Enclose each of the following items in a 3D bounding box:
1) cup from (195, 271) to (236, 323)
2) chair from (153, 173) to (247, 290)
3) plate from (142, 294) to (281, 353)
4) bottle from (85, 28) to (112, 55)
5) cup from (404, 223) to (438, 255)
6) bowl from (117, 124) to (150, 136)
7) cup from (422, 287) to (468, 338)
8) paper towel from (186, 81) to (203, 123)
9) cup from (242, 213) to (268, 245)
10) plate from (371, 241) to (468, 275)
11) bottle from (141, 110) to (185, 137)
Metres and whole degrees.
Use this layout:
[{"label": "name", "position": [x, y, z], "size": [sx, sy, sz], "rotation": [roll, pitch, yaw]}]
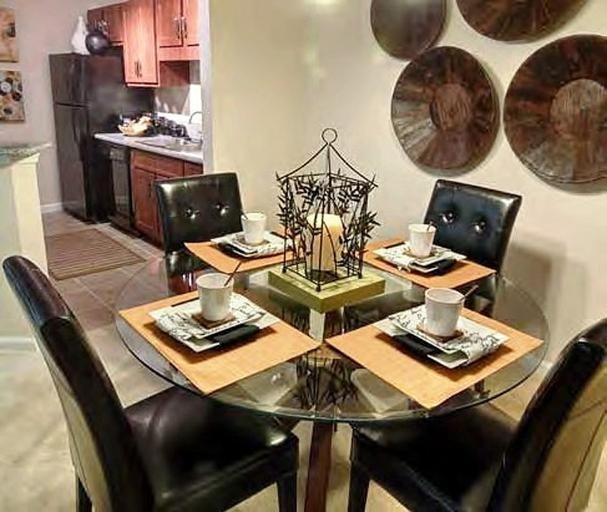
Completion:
[{"label": "cup", "position": [-0.231, 0.102, 1.265], "size": [0.109, 0.121, 0.112], "rotation": [3, 29, -1]}, {"label": "chair", "position": [-0.441, -0.116, 1.962], "size": [0.342, 0.658, 0.354], "rotation": [-15, 26, -34]}, {"label": "plate", "position": [-0.238, 0.178, 1.223], "size": [0.184, 0.030, 0.186], "rotation": [-13, 30, -37]}, {"label": "bottle", "position": [-2.184, -2.278, 4.887], "size": [0.233, 0.368, 0.250], "rotation": [-1, 31, 1]}, {"label": "cup", "position": [0.442, -0.062, 1.729], "size": [0.101, 0.130, 0.113], "rotation": [-2, 24, -4]}, {"label": "bowl", "position": [-1.821, -1.350, 4.896], "size": [0.284, 0.129, 0.219], "rotation": [-6, 22, -23]}, {"label": "cup", "position": [0.362, 0.129, 1.229], "size": [0.113, 0.125, 0.107], "rotation": [0, 30, 0]}, {"label": "paper towel", "position": [-1.143, -1.598, 4.771], "size": [0.084, 0.379, 0.311], "rotation": [-10, 23, -32]}, {"label": "cup", "position": [-0.182, -0.112, 1.773], "size": [0.102, 0.124, 0.106], "rotation": [1, 24, 0]}, {"label": "plate", "position": [0.405, 0.012, 1.697], "size": [0.168, 0.040, 0.177], "rotation": [15, 24, 32]}, {"label": "bottle", "position": [-1.520, -1.429, 4.959], "size": [0.217, 0.152, 0.436], "rotation": [6, 15, 4]}]
